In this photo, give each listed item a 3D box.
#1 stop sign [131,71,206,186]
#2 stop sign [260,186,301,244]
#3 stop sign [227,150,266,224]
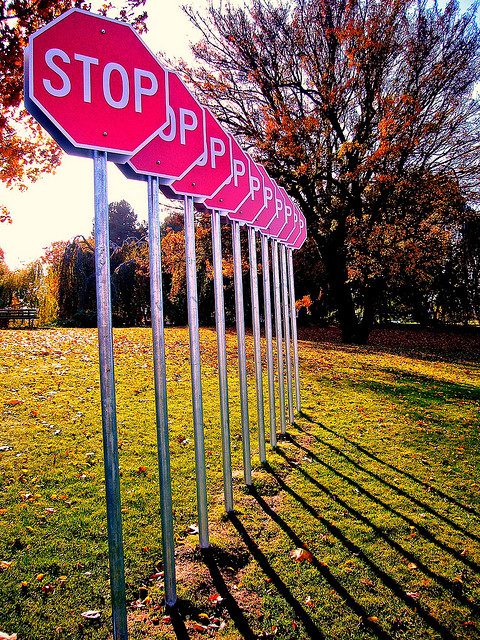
[{"bbox_3d":[-0.434,-1.212,3.489,0.613,0.641,0.080,17,21,24],"label":"stop sign"},{"bbox_3d":[0.412,-0.926,5.402,0.131,0.395,0.573,-4,16,15],"label":"stop sign"},{"bbox_3d":[0.115,-1.023,4.559,0.109,0.524,0.504,5,-9,32],"label":"stop sign"}]
